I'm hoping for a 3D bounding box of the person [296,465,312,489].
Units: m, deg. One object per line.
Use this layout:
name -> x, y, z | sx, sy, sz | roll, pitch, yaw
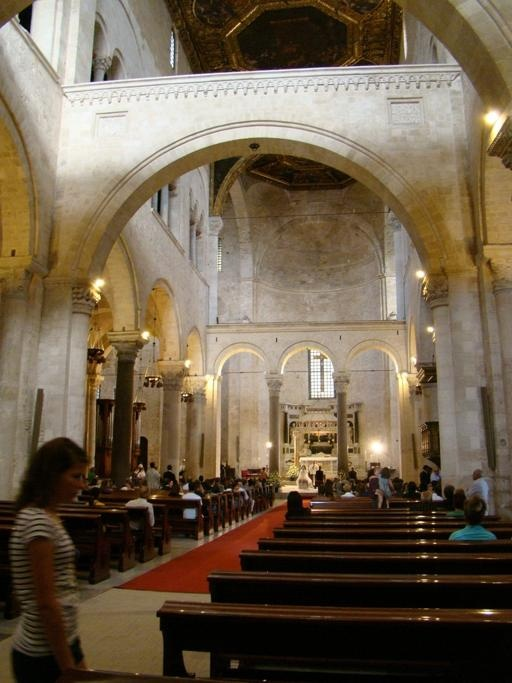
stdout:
person -> 2.078, 5.906, 25.466 | 0.678, 0.992, 1.121 | -4, -11, 3
